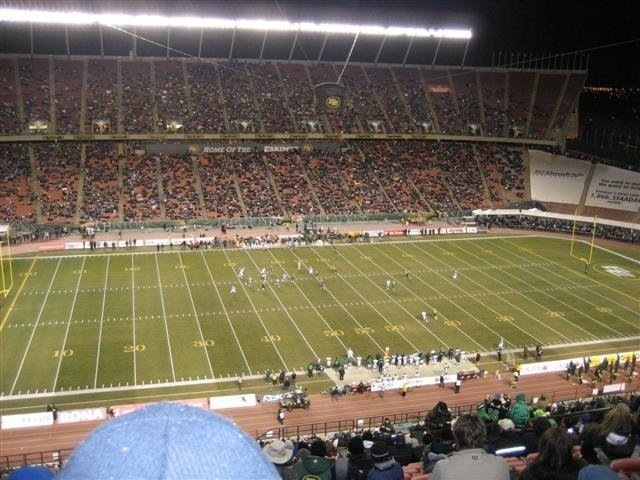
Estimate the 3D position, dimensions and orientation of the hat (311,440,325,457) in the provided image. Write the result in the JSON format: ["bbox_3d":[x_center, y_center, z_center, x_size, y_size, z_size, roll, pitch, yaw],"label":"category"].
[{"bbox_3d":[-0.031,3.567,9.987,0.252,0.285,0.631,-5,-13,-3],"label":"hat"}]

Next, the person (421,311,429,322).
[{"bbox_3d":[7.731,5.674,43.148,0.538,0.858,1.247,-9,-14,12],"label":"person"}]

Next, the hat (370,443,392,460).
[{"bbox_3d":[0.964,3.408,9.435,0.271,0.286,0.257,-8,-14,8],"label":"hat"}]

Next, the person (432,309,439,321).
[{"bbox_3d":[8.650,5.588,43.770,0.455,0.948,1.652,-9,-14,10],"label":"person"}]

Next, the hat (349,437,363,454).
[{"bbox_3d":[0.614,3.571,10.221,0.265,0.275,0.329,0,-6,-3],"label":"hat"}]
